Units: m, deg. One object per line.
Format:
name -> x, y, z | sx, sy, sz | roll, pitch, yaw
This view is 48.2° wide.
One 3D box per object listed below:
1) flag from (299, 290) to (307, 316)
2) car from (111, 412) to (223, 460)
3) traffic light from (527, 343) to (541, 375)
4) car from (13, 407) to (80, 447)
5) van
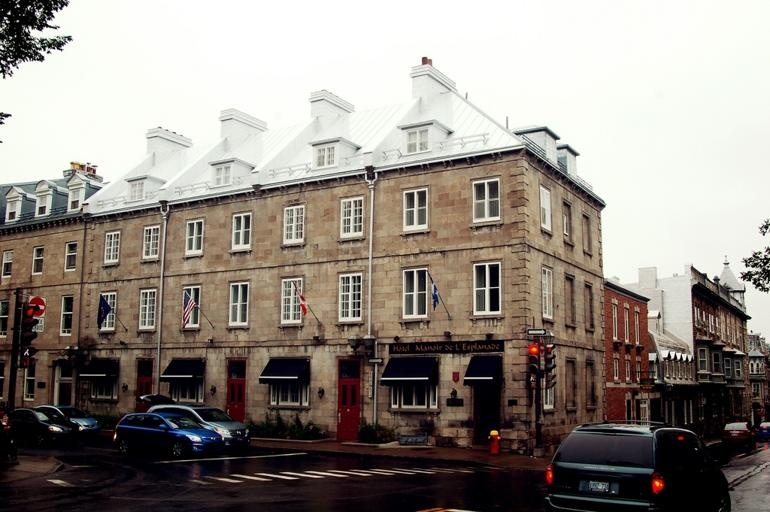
flag -> -4.640, 2.522, 48.767 | 0.535, 1.402, 1.392 | 3, -17, -6
car -> -10.503, 8.508, 40.347 | 5.824, 1.907, 2.372 | -5, -9, 33
traffic light -> 7.055, 4.783, 40.544 | 0.532, 1.548, 0.983 | -3, -18, 15
car -> -17.316, 8.782, 44.160 | 3.910, 1.717, 2.056 | -4, -10, 24
van -> -9.439, 8.060, 42.720 | 5.911, 2.135, 2.783 | -1, -15, 27
